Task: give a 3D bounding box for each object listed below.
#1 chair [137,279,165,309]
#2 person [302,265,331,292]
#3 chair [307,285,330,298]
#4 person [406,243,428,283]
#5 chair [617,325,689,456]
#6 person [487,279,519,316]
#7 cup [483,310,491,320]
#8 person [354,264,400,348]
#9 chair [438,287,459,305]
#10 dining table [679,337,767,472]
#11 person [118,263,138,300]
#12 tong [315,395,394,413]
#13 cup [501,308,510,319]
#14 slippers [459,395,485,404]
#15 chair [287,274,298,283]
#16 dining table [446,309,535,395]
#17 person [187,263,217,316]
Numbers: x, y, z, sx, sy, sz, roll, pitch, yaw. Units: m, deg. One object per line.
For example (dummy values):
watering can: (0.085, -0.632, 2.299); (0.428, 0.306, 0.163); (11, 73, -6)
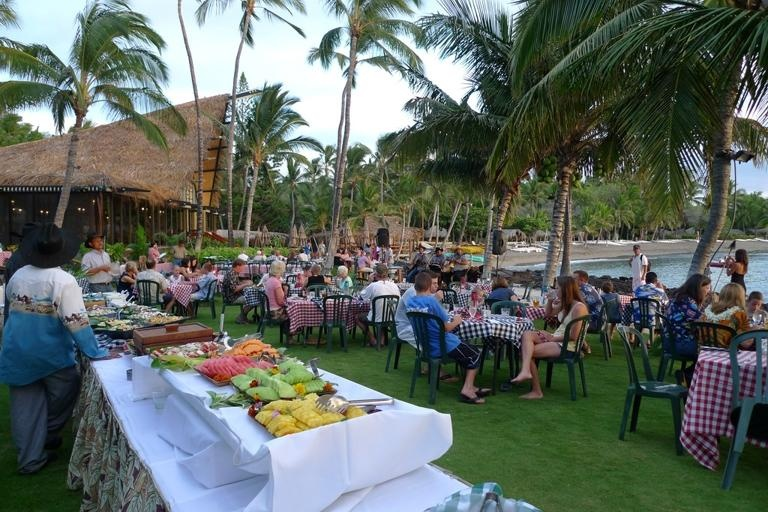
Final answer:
chair: (-4.770, 0.749, 11.270); (0.404, 0.811, 0.558); (3, 17, -3)
person: (-1.514, 0.495, 12.306); (0.415, 0.320, 0.939); (-2, -35, -11)
chair: (-1.273, 0.670, 10.663); (0.296, 0.196, 0.303); (1, 2, -27)
person: (0.987, 0.334, 15.565); (0.547, 1.381, 0.707); (1, -14, 16)
chair: (3.105, 1.477, 6.456); (0.770, 1.203, 0.858); (5, 10, 25)
person: (2.006, 0.680, 9.436); (0.579, 0.762, 0.440); (2, 0, 14)
cup: (1.441, 0.828, 7.842); (0.107, 0.118, 0.205); (4, 0, 5)
person: (-0.081, 0.915, 10.034); (0.865, 1.540, 0.959); (7, 13, 13)
chair: (1.239, 0.779, 10.737); (0.297, 0.415, 0.297); (4, -7, -33)
dining table: (3.518, 1.568, 6.133); (1.029, 1.075, 1.088); (0, 2, -16)
person: (-5.182, 0.534, 11.347); (0.464, 0.783, 0.319); (8, 19, -23)
tong: (-0.224, 1.148, 4.362); (0.597, 0.094, 0.207); (7, 32, -30)
cup: (1.773, 0.841, 8.015); (0.112, 0.148, 0.121); (1, -7, 0)
slippers: (1.163, 1.873, 7.302); (0.253, 0.067, 0.134); (0, -3, 11)
chair: (-2.113, 0.525, 12.748); (0.221, 0.304, 0.215); (1, -2, -5)
dining table: (1.441, 1.335, 7.798); (0.967, 0.666, 0.972); (0, 0, -30)
person: (-4.123, 0.744, 12.311); (0.598, 1.202, 0.523); (10, 2, -2)
